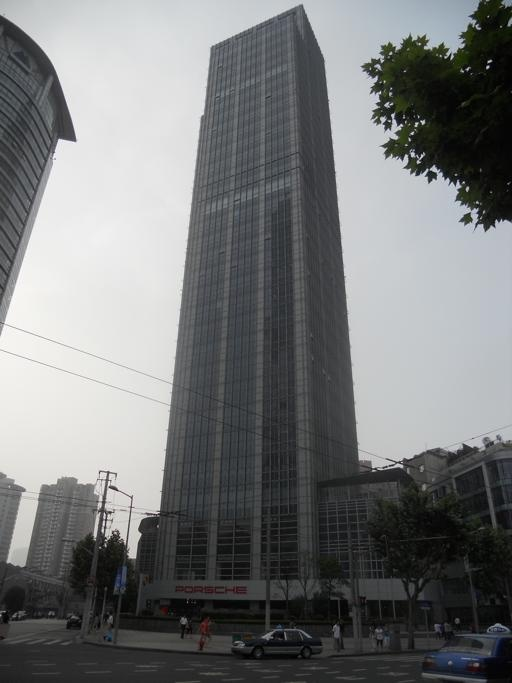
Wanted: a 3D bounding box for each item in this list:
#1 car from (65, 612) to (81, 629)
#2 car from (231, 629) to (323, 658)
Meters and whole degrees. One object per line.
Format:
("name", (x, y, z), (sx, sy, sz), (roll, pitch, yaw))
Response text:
("car", (-19.422, 29.807, 55.443), (1.250, 0.976, 2.079), (1, -21, -3))
("car", (1.232, 14.743, 25.382), (4.504, 1.205, 0.811), (16, -31, -27))
